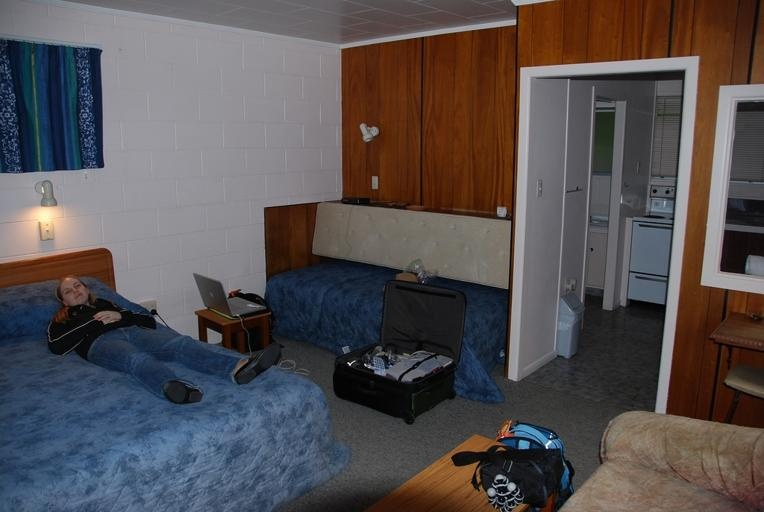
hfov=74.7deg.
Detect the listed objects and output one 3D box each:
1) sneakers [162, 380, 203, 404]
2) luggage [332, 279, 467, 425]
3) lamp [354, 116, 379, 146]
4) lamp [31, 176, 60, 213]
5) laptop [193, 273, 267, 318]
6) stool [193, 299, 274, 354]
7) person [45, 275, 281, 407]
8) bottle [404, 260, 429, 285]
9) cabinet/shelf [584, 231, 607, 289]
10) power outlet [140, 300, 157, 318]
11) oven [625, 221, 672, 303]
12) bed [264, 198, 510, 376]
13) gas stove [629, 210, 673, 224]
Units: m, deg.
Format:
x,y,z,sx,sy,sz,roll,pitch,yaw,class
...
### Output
x,y,z,sx,sy,sz,roll,pitch,yaw,class
-1.307,0.899,3.286,0.226,0.130,0.068,16,0,-17,sneakers
0.172,0.782,4.346,0.982,0.884,0.944,3,12,26,luggage
-0.171,-1.546,6.151,0.248,0.244,0.081,15,19,14,lamp
-2.950,-0.534,4.398,0.149,0.278,0.270,-11,18,-33,lamp
-1.487,0.344,5.053,0.359,0.494,0.578,-25,23,-37,laptop
-1.521,0.704,5.192,0.600,0.556,0.585,-7,13,-35,stool
-1.837,0.698,3.871,1.798,0.597,0.840,13,18,35,person
0.374,0.160,5.401,0.278,0.268,0.177,5,3,4,bottle
2.975,0.015,6.976,0.196,0.787,0.755,2,9,5,cabinet/shelf
-2.259,0.510,4.825,0.170,0.186,0.024,-13,24,-43,power outlet
3.786,0.006,6.898,0.487,0.679,1.022,23,15,28,oven
0.192,0.292,5.408,3.449,1.374,1.316,10,21,39,bed
3.570,-0.520,6.641,0.461,0.064,0.640,6,16,25,gas stove
